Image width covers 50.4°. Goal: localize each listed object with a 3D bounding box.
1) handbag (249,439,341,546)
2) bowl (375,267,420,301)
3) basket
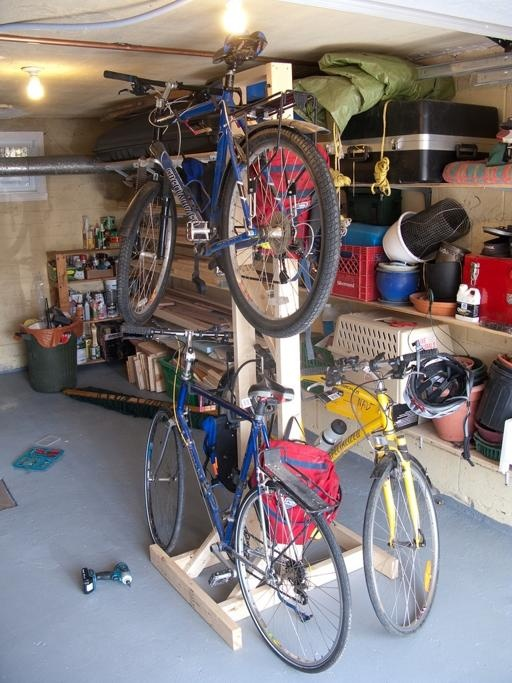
[{"bbox_3d":[0.164,0.579,1.967,0.329,0.430,0.376,-3,10,-6],"label":"handbag"},{"bbox_3d":[0.841,-0.348,3.222,0.221,0.185,0.209,0,6,0],"label":"bowl"},{"bbox_3d":[0.533,-0.421,3.386,0.326,0.383,0.536,-4,14,-24],"label":"basket"}]
